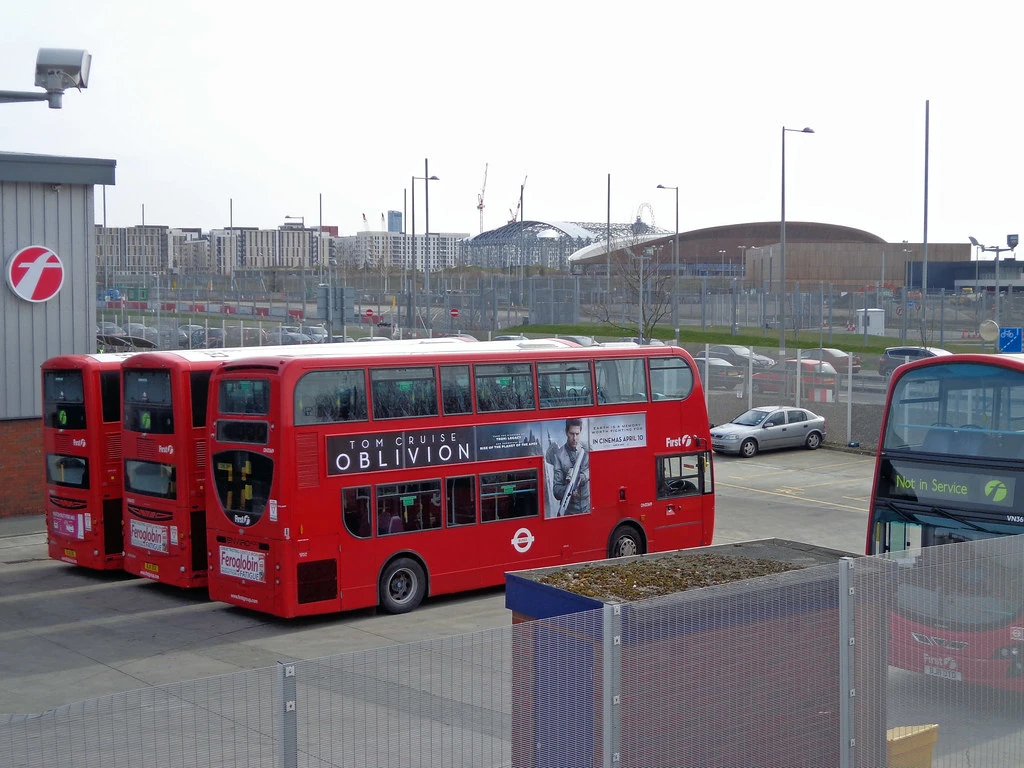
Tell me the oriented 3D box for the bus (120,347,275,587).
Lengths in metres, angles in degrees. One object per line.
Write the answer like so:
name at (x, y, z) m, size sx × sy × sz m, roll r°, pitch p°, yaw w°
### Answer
bus at (-5.937, 1.421, 22.563) m, size 1.227 × 3.694 × 3.762 m, roll -1°, pitch 1°, yaw -2°

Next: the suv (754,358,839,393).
suv at (9.770, -0.273, 44.085) m, size 2.053 × 1.164 × 1.289 m, roll 6°, pitch 11°, yaw 31°

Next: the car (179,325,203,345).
car at (-14.526, -2.160, 58.204) m, size 0.863 × 0.875 × 1.588 m, roll -1°, pitch 17°, yaw -14°

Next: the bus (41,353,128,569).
bus at (-7.466, 1.341, 22.567) m, size 1.685 × 3.612 × 0.604 m, roll 4°, pitch 2°, yaw 34°

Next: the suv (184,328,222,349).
suv at (-13.848, -2.001, 57.642) m, size 1.031 × 0.971 × 1.731 m, roll -5°, pitch 13°, yaw -36°

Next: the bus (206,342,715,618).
bus at (-0.226, 1.095, 21.993) m, size 8.049 × 4.439 × 2.617 m, roll -4°, pitch 17°, yaw -28°

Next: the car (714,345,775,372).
car at (9.508, -0.806, 53.167) m, size 1.257 × 1.148 × 2.883 m, roll -4°, pitch 5°, yaw -41°
